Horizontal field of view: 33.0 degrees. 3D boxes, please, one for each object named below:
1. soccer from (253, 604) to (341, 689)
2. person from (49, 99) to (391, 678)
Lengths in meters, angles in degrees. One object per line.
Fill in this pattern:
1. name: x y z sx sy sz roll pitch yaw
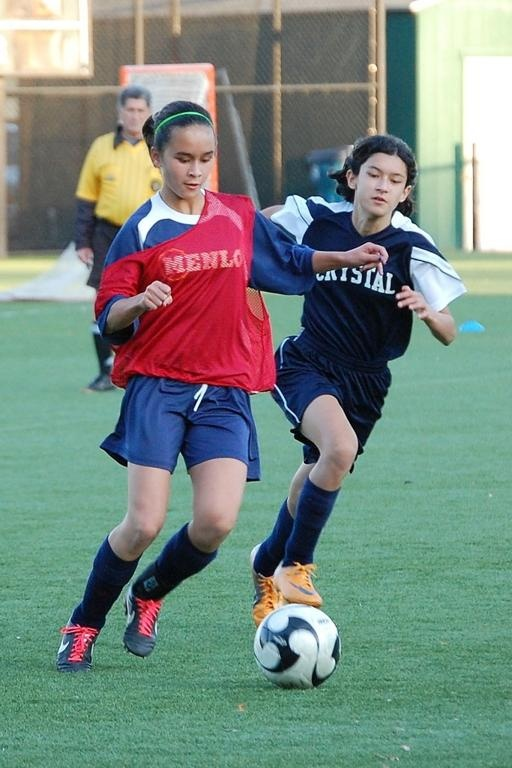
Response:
1. soccer: 0.096 0.608 2.069 0.179 0.167 0.172 15 58 33
2. person: -0.141 -0.001 2.095 0.650 1.363 0.416 -8 9 -42
